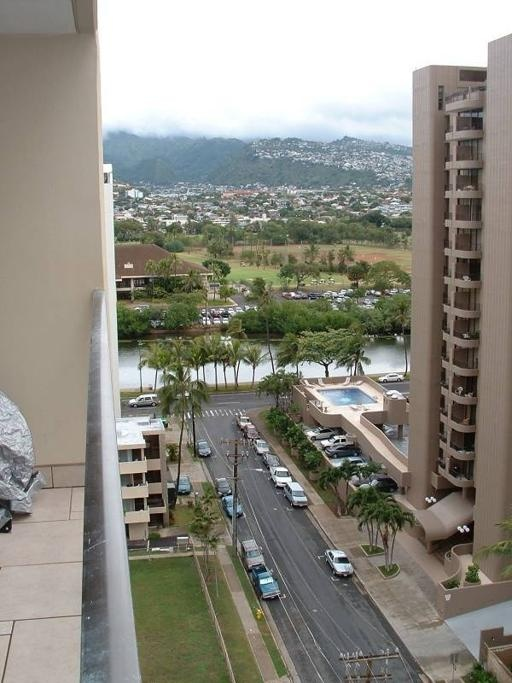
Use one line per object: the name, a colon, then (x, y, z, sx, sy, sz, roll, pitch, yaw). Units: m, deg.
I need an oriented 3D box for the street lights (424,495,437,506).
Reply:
street lights: (7.744, 7.129, 24.851, 0.486, 0.475, 0.396, 3, 14, 14)

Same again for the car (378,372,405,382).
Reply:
car: (11.523, 3.058, 47.576, 1.993, 0.641, 0.904, 1, 2, -1)

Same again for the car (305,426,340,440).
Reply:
car: (4.162, 5.768, 34.938, 1.867, 0.606, 0.833, 0, 6, -10)
